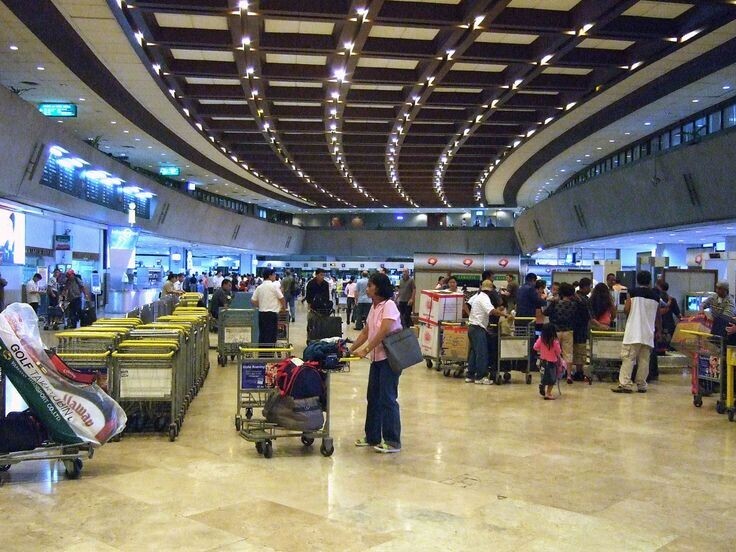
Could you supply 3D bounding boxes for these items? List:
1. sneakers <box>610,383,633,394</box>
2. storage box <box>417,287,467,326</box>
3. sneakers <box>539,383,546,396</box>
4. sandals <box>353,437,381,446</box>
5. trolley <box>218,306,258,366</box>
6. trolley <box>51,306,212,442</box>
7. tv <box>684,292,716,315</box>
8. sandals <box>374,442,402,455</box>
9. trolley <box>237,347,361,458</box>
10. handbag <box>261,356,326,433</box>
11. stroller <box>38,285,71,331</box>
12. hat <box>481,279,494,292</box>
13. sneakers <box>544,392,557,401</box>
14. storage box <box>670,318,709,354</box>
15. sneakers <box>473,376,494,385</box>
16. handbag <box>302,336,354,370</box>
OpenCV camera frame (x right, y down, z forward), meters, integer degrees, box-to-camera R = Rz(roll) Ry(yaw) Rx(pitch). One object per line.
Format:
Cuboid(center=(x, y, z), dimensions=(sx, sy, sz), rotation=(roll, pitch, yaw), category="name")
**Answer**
Cuboid(center=(4.367, 1.929, 9.836), dimensions=(0.345, 0.159, 0.152), rotation=(1, 2, 15), category="sneakers")
Cuboid(center=(1.612, 0.456, 11.959), dimensions=(0.597, 0.701, 1.091), rotation=(0, 1, -13), category="storage box")
Cuboid(center=(2.858, 1.843, 9.364), dimensions=(0.082, 0.234, 0.098), rotation=(-5, -7, 13), category="sneakers")
Cuboid(center=(-0.006, 1.873, 6.416), dimensions=(0.287, 0.130, 0.108), rotation=(4, -3, 8), category="sandals")
Cuboid(center=(-2.735, 1.223, 12.320), dimensions=(0.931, 1.232, 1.164), rotation=(3, 6, 3), category="trolley")
Cuboid(center=(-2.856, 1.183, 7.674), dimensions=(1.352, 0.919, 2.487), rotation=(0, -1, -3), category="trolley")
Cuboid(center=(6.993, 0.570, 12.026), dimensions=(0.522, 0.488, 0.289), rotation=(1, -6, 10), category="tv")
Cuboid(center=(0.218, 1.854, 6.189), dimensions=(0.219, 0.094, 0.113), rotation=(5, -6, -8), category="sandals")
Cuboid(center=(-0.877, 1.445, 6.486), dimensions=(1.473, 0.990, 1.445), rotation=(11, -14, -7), category="trolley")
Cuboid(center=(-0.800, 1.334, 6.424), dimensions=(0.678, 0.803, 0.802), rotation=(4, -9, -33), category="handbag")
Cuboid(center=(-9.985, 0.734, 18.379), dimensions=(1.046, 1.678, 1.084), rotation=(-6, 26, -40), category="stroller")
Cuboid(center=(2.284, 0.174, 10.932), dimensions=(0.189, 0.145, 0.276), rotation=(2, 9, 12), category="hat")
Cuboid(center=(2.973, 1.945, 9.238), dimensions=(0.236, 0.095, 0.080), rotation=(0, 2, -15), category="sneakers")
Cuboid(center=(5.563, 0.909, 9.736), dimensions=(0.327, 0.557, 0.564), rotation=(10, -5, -17), category="storage box")
Cuboid(center=(2.110, 1.903, 10.472), dimensions=(0.312, 0.146, 0.136), rotation=(-1, -1, -2), category="sneakers")
Cuboid(center=(-0.456, 0.870, 6.482), dimensions=(0.735, 0.438, 0.964), rotation=(2, -6, -5), category="handbag")
